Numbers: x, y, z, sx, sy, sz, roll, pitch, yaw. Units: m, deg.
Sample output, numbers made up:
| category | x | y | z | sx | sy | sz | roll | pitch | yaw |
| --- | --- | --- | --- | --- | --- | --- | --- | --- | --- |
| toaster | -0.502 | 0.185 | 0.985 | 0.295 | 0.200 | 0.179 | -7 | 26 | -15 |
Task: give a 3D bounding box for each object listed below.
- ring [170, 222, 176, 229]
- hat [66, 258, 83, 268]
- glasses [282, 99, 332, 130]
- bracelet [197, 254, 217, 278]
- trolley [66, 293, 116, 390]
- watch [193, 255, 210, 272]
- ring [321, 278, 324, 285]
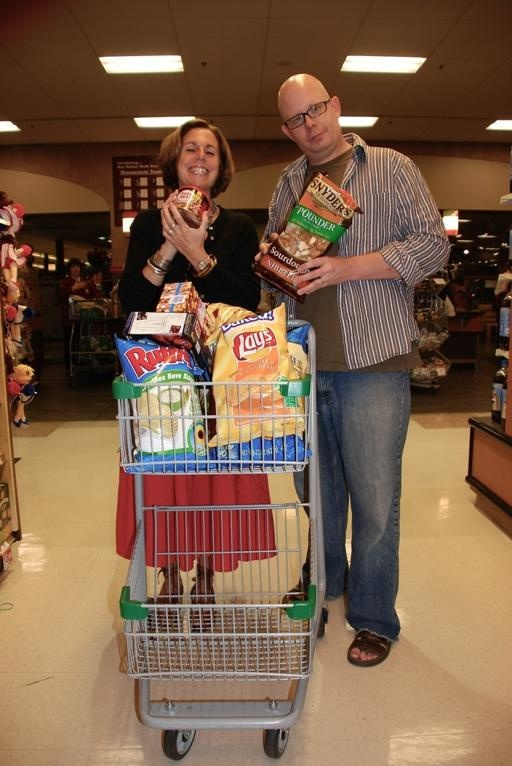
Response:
| category | x | y | z | sx | sy | sz | roll | pitch | yaw |
| --- | --- | --- | --- | --- | --- | --- | --- | --- | --- |
| ring | -0.170 | -0.317 | 1.178 | 0.010 | 0.013 | 0.014 | -6 | 9 | -36 |
| hat | -2.750 | -1.795 | 8.751 | 0.286 | 0.153 | 0.351 | 0 | 5 | -2 |
| glasses | 0.109 | -0.645 | 1.399 | 0.120 | 0.060 | 0.057 | 4 | 8 | 31 |
| bracelet | -0.121 | -0.260 | 1.315 | 0.050 | 0.023 | 0.039 | -38 | -6 | 30 |
| trolley | -2.234 | -0.578 | 7.894 | 0.685 | 1.110 | 1.287 | -3 | 7 | -14 |
| watch | -0.119 | -0.258 | 1.280 | 0.029 | 0.041 | 0.024 | -8 | -23 | 7 |
| ring | 0.152 | -0.230 | 1.334 | 0.010 | 0.011 | 0.012 | -5 | 30 | -8 |
